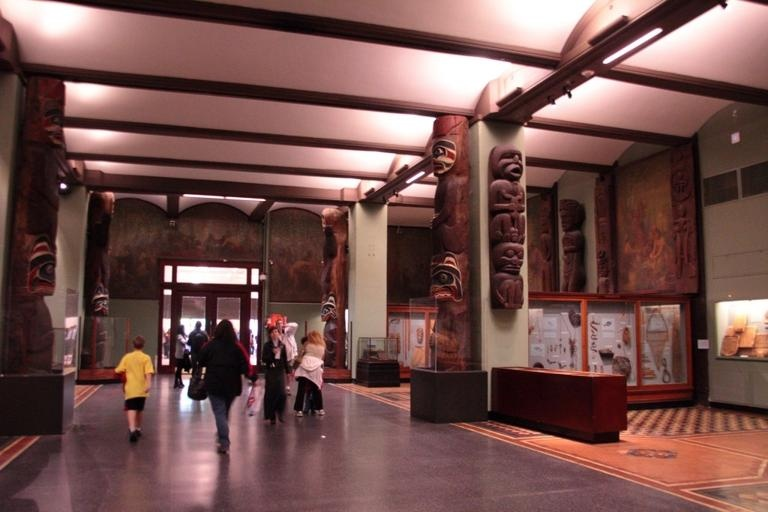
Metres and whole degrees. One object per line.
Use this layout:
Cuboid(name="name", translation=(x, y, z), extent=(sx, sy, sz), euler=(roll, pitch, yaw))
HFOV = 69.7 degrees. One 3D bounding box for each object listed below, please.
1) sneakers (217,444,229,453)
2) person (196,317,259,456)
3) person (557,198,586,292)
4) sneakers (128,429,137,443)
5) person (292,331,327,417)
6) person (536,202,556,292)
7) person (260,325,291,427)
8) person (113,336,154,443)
Cuboid(name="sneakers", translation=(-2.387, 2.877, 8.188), extent=(0.152, 0.099, 0.160), euler=(1, -6, -9))
Cuboid(name="person", translation=(-2.352, 1.947, 8.250), extent=(0.758, 1.950, 0.378), euler=(2, -8, -16))
Cuboid(name="person", translation=(5.529, -0.328, 15.990), extent=(0.705, 2.689, 0.389), euler=(-3, -8, 20))
Cuboid(name="sneakers", translation=(-3.975, 2.856, 8.786), extent=(0.142, 0.173, 0.218), euler=(3, -8, -23))
Cuboid(name="person", translation=(-1.464, 2.334, 10.939), extent=(0.625, 1.638, 0.688), euler=(1, -8, -8))
Cuboid(name="person", translation=(5.060, -0.441, 17.006), extent=(0.538, 3.063, 0.389), euler=(-6, -9, 37))
Cuboid(name="person", translation=(-2.040, 2.218, 10.387), extent=(0.489, 1.759, 0.541), euler=(1, -8, -9))
Cuboid(name="person", translation=(-4.051, 2.262, 8.975), extent=(0.517, 1.395, 0.438), euler=(1, -8, -7))
